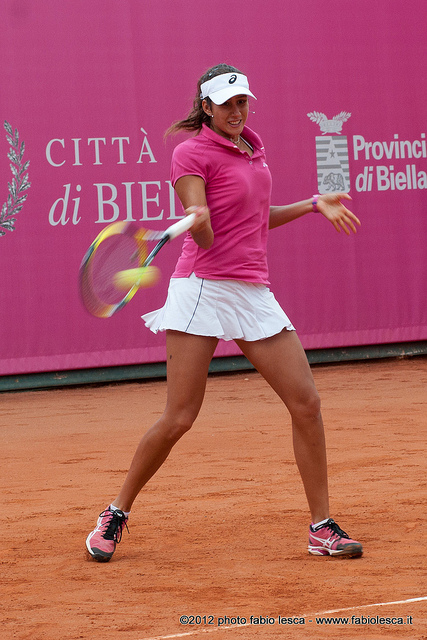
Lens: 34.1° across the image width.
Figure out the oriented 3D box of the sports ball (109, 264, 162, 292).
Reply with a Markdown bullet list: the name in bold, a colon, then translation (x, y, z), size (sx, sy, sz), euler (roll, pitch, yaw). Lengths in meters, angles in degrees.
- **sports ball**: translation (-0.255, -0.150, 2.353), size (0.187, 0.075, 0.085), euler (-9, -11, 32)

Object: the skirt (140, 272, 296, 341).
- **skirt**: translation (0.001, -0.061, 2.498), size (0.635, 0.243, 0.401), euler (-4, 10, -32)
